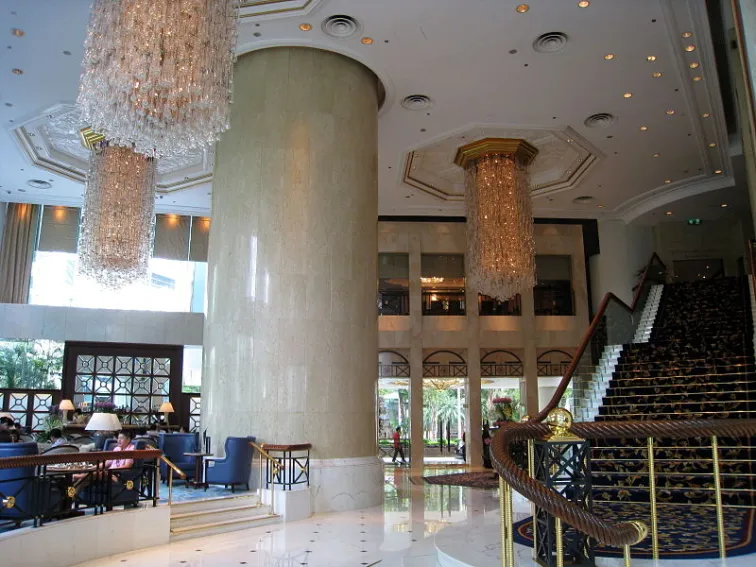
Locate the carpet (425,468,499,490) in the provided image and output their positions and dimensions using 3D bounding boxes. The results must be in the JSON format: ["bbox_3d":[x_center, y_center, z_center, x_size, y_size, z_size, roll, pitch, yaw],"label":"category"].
[{"bbox_3d":[1.872,4.311,12.005,1.427,0.207,3.155,-2,-11,8],"label":"carpet"}]

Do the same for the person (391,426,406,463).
[{"bbox_3d":[0.660,4.825,16.191,0.368,0.940,0.822,0,-11,2],"label":"person"}]

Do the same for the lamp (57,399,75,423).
[{"bbox_3d":[-7.809,3.214,13.757,0.347,0.577,1.098,6,-12,-28],"label":"lamp"}]

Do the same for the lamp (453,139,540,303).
[{"bbox_3d":[2.539,-1.449,11.535,1.453,3.558,0.898,-2,-11,12],"label":"lamp"}]
